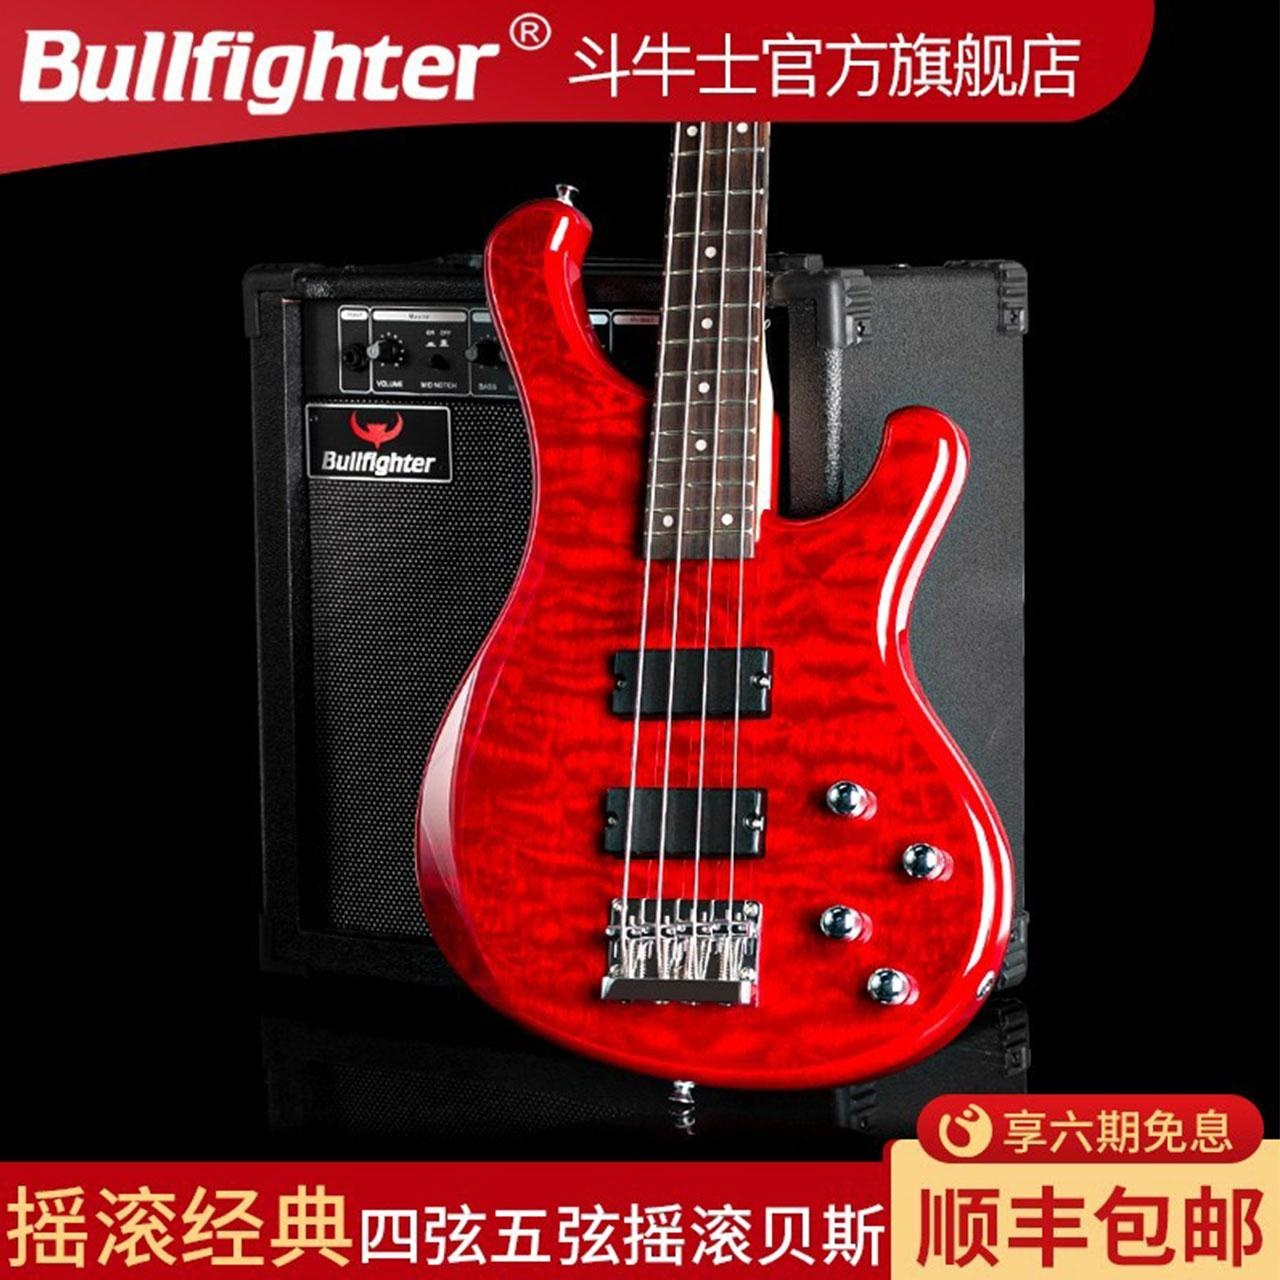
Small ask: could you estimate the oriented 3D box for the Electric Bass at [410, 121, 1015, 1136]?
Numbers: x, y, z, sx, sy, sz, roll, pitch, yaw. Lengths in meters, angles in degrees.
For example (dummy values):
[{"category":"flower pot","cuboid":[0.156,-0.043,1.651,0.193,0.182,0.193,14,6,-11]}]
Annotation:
[{"category":"Electric Bass","cuboid":[0.047,-0.040,1.162,0.465,0.764,0.166,-1,2,11]}]
